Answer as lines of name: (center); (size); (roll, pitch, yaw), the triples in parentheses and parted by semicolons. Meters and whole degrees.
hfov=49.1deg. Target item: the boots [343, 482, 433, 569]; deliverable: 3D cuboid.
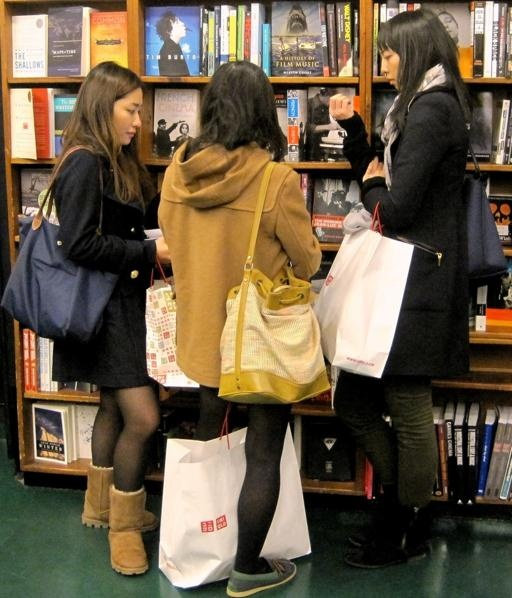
boots: (0.505, 0.830, 2.102); (0.398, 0.272, 0.171); (-1, 1, -19)

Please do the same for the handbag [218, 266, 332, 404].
handbag: (0.048, 0.098, 1.592); (0.201, 0.372, 0.356); (-5, -5, 39)

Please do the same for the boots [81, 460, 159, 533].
boots: (-0.537, 0.783, 2.218); (0.304, 0.278, 0.123); (4, 16, 1)

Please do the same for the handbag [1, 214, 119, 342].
handbag: (-0.663, -0.066, 1.864); (0.360, 0.401, 0.155); (1, 4, 10)

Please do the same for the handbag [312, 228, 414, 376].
handbag: (0.335, 0.018, 1.697); (0.163, 0.429, 0.360); (18, 8, -27)
